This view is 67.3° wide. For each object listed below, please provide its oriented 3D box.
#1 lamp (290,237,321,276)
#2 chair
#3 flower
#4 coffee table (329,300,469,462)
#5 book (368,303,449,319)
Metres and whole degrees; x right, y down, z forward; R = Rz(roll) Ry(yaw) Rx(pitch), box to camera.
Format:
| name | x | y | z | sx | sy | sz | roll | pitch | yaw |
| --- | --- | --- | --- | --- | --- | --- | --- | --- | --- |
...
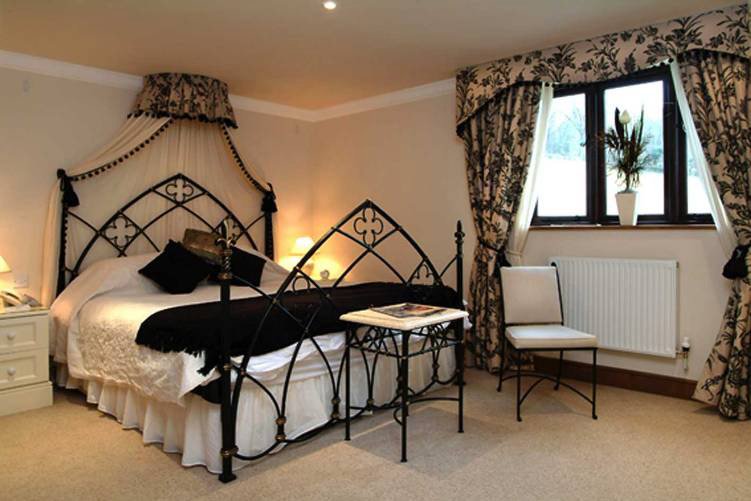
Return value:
| name | x | y | z | sx | sy | sz | roll | pitch | yaw |
| --- | --- | --- | --- | --- | --- | --- | --- | --- | --- |
| lamp | -0.916 | 0.086 | 7.370 | 0.465 | 0.731 | 0.472 | -1 | -1 | -10 |
| chair | 1.565 | 0.782 | 5.188 | 0.874 | 1.285 | 1.074 | -2 | 1 | 12 |
| flower | 2.350 | -0.949 | 5.328 | 0.514 | 0.830 | 0.287 | -2 | 1 | 26 |
| coffee table | 0.228 | 0.992 | 4.657 | 1.033 | 1.009 | 0.885 | -2 | 3 | -39 |
| book | 0.263 | 0.471 | 4.433 | 0.509 | 0.065 | 0.431 | -2 | 0 | -41 |
